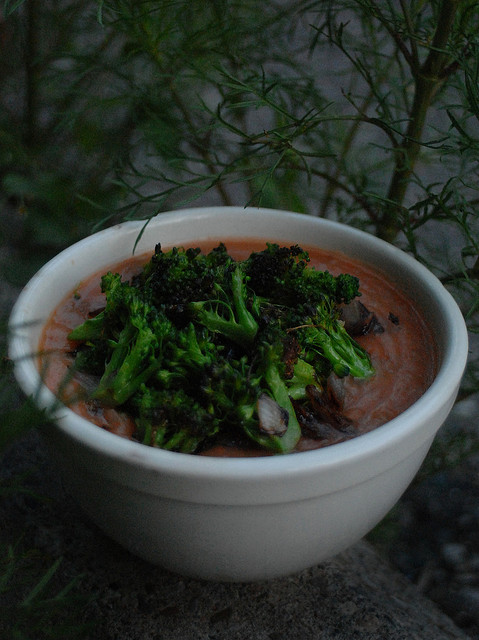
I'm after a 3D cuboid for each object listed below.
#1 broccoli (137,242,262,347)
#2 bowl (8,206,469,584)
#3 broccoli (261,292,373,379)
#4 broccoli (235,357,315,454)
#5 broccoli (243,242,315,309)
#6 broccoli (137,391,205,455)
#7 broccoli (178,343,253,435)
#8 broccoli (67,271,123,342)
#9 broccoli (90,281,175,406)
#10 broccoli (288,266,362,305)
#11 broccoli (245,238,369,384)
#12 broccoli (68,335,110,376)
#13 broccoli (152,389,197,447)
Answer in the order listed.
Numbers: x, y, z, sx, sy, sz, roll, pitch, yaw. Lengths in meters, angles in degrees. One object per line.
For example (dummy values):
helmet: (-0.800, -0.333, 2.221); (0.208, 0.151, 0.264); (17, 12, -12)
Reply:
broccoli: (-0.059, -0.029, 0.901); (0.142, 0.079, 0.177); (-13, 33, -32)
bowl: (0.009, 0.142, 1.010); (0.714, 0.339, 0.618); (1, 28, 0)
broccoli: (0.126, 0.014, 0.891); (0.170, 0.096, 0.069); (38, 17, 1)
broccoli: (0.054, 0.093, 0.772); (0.103, 0.032, 0.121); (4, 40, 16)
broccoli: (0.054, -0.069, 0.965); (0.084, 0.081, 0.116); (-32, 21, -32)
broccoli: (-0.090, 0.125, 0.742); (0.078, 0.053, 0.031); (30, 21, 31)
broccoli: (-0.032, 0.087, 0.747); (0.063, 0.083, 0.102); (29, -22, -27)
broccoli: (-0.217, -0.010, 0.917); (0.089, 0.048, 0.157); (-10, 38, 1)
broccoli: (-0.137, 0.035, 0.813); (0.109, 0.090, 0.143); (-8, 36, 17)
broccoli: (0.128, -0.043, 0.905); (0.073, 0.033, 0.070); (2, -8, -39)
broccoli: (0.097, 0.003, 0.936); (0.129, 0.245, 0.161); (-4, -9, -41)
broccoli: (-0.198, 0.050, 0.838); (0.071, 0.030, 0.068); (-5, 33, 5)
broccoli: (-0.078, 0.120, 0.741); (0.044, 0.036, 0.050); (38, 73, 4)
